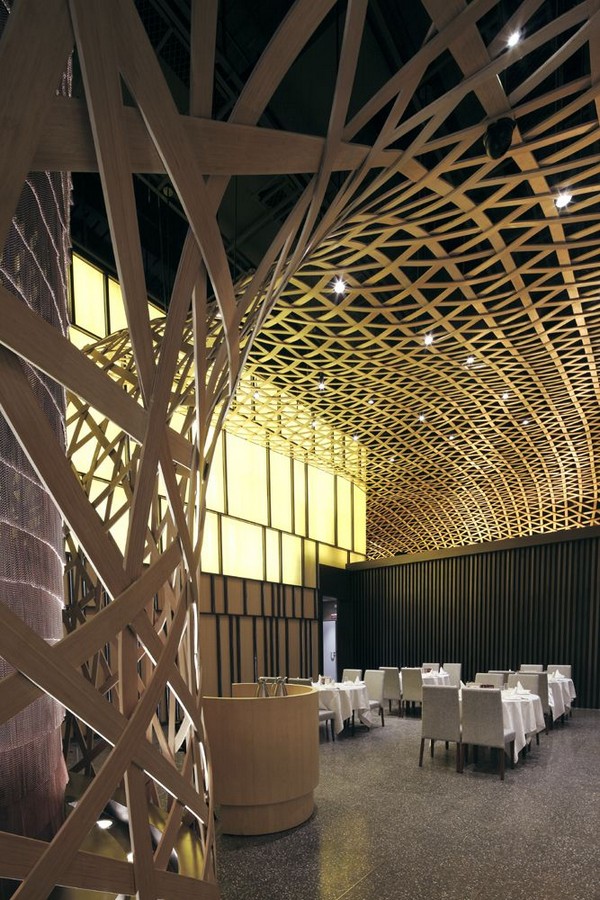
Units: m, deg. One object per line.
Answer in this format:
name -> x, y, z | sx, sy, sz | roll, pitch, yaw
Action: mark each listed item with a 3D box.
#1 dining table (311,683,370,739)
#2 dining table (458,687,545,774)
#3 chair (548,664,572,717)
dining table -> 0.556, 3.567, 8.954 | 0.510, 0.714, 1.309 | -6, -14, 20
dining table -> 2.237, 3.050, 7.280 | 0.486, 0.871, 1.753 | -8, -15, 31
chair -> 4.479, 4.185, 11.402 | 0.588, 0.778, 0.577 | 7, -16, -44
